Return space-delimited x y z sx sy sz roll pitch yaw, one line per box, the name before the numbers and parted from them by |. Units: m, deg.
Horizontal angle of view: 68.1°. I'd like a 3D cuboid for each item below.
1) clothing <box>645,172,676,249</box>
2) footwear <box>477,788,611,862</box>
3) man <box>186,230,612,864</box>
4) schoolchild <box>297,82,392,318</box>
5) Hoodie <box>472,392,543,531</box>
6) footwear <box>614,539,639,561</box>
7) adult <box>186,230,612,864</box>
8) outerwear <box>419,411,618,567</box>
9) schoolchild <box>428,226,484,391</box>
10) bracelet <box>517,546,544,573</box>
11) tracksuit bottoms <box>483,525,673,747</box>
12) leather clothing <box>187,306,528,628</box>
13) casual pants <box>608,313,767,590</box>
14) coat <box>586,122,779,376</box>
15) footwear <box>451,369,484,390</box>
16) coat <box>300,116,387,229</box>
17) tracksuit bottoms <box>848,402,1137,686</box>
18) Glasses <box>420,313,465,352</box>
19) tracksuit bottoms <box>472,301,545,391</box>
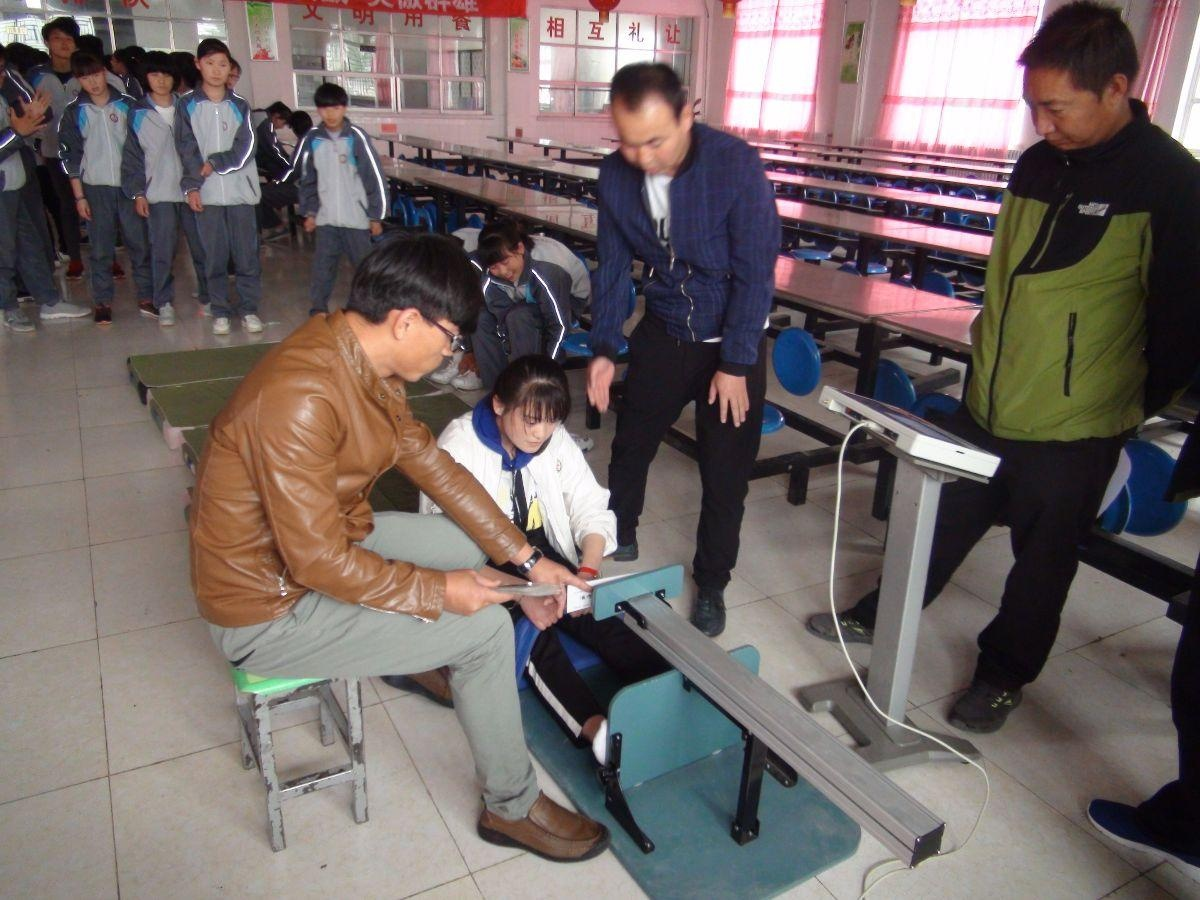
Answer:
clothing | 0.198 -0.801 2.894 0.123 0.182 0.057 -9 9 -14
footwear | -0.159 1.008 2.405 0.353 0.164 0.152 4 17 9
man | -0.502 0.261 2.282 0.948 1.509 0.651 -3 17 -19
schoolchild | -1.683 -1.580 5.741 0.525 1.565 0.366 -9 37 -22
Hoodie | -0.332 0.039 2.954 0.274 0.401 0.121 -20 21 -22
footwear | 0.103 0.394 3.513 0.128 0.066 0.048 -3 19 -17
adult | -0.488 0.262 2.260 0.962 1.524 0.699 -3 18 -21
outerwear | -0.267 0.045 2.910 0.460 0.545 0.577 -8 51 -11
schoolchild | -0.718 -0.769 4.442 0.231 0.563 0.236 20 30 21
bracelet | -0.191 0.295 2.400 0.037 0.058 0.053 41 26 -1
tracksuit bottoms | -0.102 0.552 2.694 0.351 0.163 0.631 -24 49 -28
leather clothing | -0.559 0.083 2.176 0.743 0.752 0.729 -11 23 -39
casual pants | 0.304 0.011 3.342 0.534 1.302 0.320 8 42 4
coat | 0.260 -0.697 2.987 0.582 0.759 0.421 8 35 16
footwear | -0.735 -0.401 4.942 0.194 0.095 0.086 -5 45 -11
coat | -1.645 -1.767 5.635 0.533 0.669 0.251 -7 24 -17
tracksuit bottoms | 1.264 0.315 2.794 0.298 1.026 0.475 10 24 -37
Glasses | -0.369 -0.274 2.059 0.070 0.022 0.070 44 8 7
tracksuit bottoms | -0.488 -0.536 4.562 0.311 0.476 0.261 -9 2 -9
